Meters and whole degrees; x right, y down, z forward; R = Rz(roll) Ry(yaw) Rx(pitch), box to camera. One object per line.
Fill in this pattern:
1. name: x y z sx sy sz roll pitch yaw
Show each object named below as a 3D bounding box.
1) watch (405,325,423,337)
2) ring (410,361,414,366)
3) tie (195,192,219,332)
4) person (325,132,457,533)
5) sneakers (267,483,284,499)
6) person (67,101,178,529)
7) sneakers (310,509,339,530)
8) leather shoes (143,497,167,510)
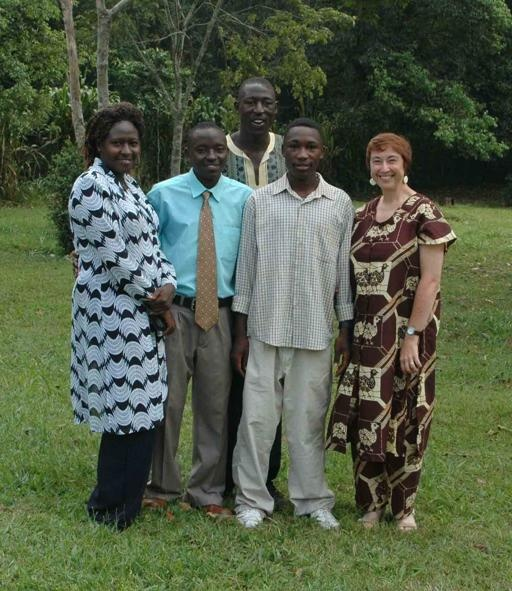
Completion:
1. watch: 0.747 0.170 3.679 0.066 0.040 0.067 6 3 -31
2. ring: 0.739 0.317 3.690 0.016 0.027 0.015 -1 -5 0
3. tie: -0.244 -0.174 3.906 0.112 0.679 0.216 1 13 -5
4. person: 0.672 0.198 3.846 0.512 1.958 0.547 6 13 17
5. sneakers: 0.104 1.055 4.204 0.037 0.041 0.127 37 7 4
6. person: -0.635 0.093 3.741 0.535 1.992 0.446 14 17 42
7. sneakers: 0.342 1.107 3.864 0.121 0.042 0.070 22 16 15
8. leather shoes: -0.522 1.067 3.987 0.137 0.052 0.045 4 12 13
